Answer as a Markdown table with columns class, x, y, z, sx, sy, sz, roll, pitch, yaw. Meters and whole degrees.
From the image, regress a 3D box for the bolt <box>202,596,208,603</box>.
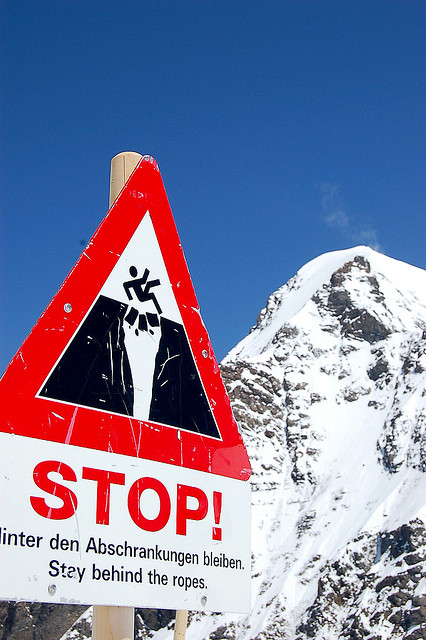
| class | x | y | z | sx | sy | sz | roll | pitch | yaw |
| --- | --- | --- | --- | --- | --- | --- | --- | --- | --- |
| bolt | -0.025 | 1.016 | 4.534 | 0.006 | 0.030 | 0.030 | -33 | -49 | 22 |

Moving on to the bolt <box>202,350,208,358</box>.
| class | x | y | z | sx | sy | sz | roll | pitch | yaw |
| --- | --- | --- | --- | --- | --- | --- | --- | --- | --- |
| bolt | -0.026 | 0.132 | 4.816 | 0.007 | 0.024 | 0.023 | -10 | -10 | 41 |

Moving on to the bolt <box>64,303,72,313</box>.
| class | x | y | z | sx | sy | sz | roll | pitch | yaw |
| --- | --- | --- | --- | --- | --- | --- | --- | --- | --- |
| bolt | -0.496 | -0.041 | 4.331 | 0.026 | 0.029 | 0.009 | 3 | -2 | 5 |
